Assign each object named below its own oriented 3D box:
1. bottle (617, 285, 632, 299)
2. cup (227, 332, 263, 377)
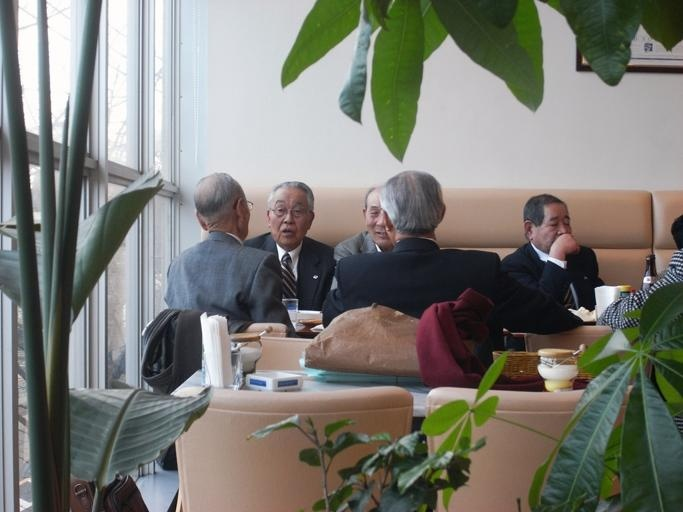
[{"bbox_3d":[1.037,0.132,2.325,0.039,0.041,0.041,0,-2,-5],"label":"bottle"},{"bbox_3d":[-0.232,0.240,1.572,0.080,0.098,0.092,0,-5,-2],"label":"cup"}]
